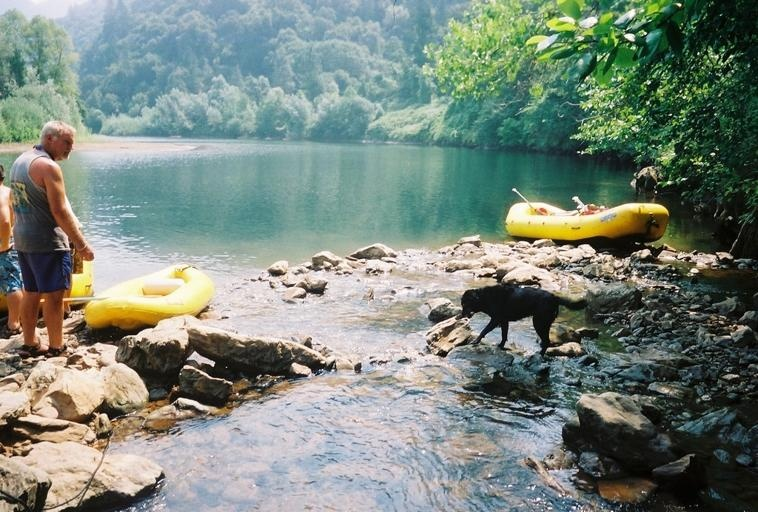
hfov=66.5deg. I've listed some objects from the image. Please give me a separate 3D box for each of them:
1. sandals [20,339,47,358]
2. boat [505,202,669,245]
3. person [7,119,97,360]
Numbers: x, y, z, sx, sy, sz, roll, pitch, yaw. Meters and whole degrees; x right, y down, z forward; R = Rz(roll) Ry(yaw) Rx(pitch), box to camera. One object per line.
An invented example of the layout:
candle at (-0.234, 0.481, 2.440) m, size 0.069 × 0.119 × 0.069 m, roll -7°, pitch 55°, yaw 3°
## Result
sandals at (-5.771, 1.540, 9.716) m, size 0.406 × 0.158 × 0.202 m, roll -9°, pitch 26°, yaw -35°
boat at (6.471, -0.988, 18.172) m, size 2.185 × 1.051 × 4.266 m, roll -4°, pitch 2°, yaw -40°
person at (-5.354, -0.241, 9.392) m, size 1.147 × 3.857 × 0.848 m, roll 6°, pitch 12°, yaw 38°
